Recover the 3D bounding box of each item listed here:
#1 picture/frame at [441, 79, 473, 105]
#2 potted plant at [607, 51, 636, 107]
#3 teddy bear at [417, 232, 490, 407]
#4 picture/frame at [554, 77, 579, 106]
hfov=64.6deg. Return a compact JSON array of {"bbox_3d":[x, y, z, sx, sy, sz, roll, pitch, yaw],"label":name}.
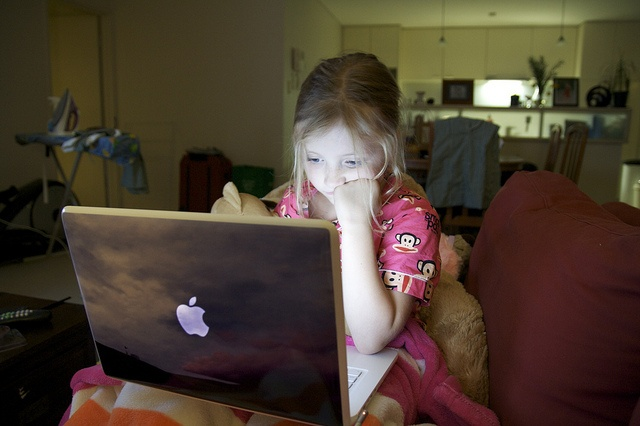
[{"bbox_3d":[1.779,-1.562,6.522,0.358,0.396,0.281,1,-6,13],"label":"picture/frame"},{"bbox_3d":[3.820,-1.686,6.359,0.315,0.694,2.547,6,13,28],"label":"potted plant"},{"bbox_3d":[0.441,0.319,1.731,0.153,0.167,0.537,-6,47,1],"label":"teddy bear"},{"bbox_3d":[3.161,-1.562,6.506,0.343,0.433,0.028,1,1,-3],"label":"picture/frame"}]
